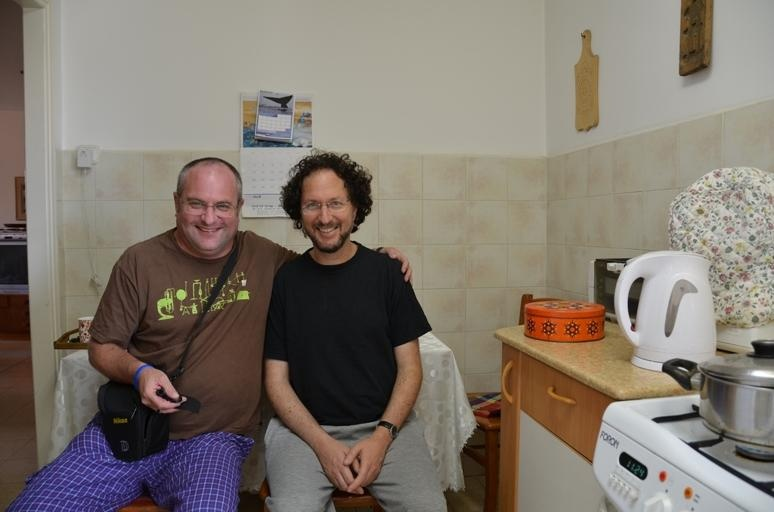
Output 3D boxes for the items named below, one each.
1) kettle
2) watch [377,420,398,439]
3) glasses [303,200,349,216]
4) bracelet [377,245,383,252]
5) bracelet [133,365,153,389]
[{"bbox_3d":[1.061,0.209,2.298,0.458,0.502,0.379,-1,1,-5],"label":"kettle"},{"bbox_3d":[0.011,0.727,2.448,0.087,0.090,0.055,-22,27,54],"label":"watch"},{"bbox_3d":[-0.272,-0.211,2.461,0.189,0.062,0.058,-1,6,-10],"label":"glasses"},{"bbox_3d":[-0.036,-0.035,2.644,0.026,0.023,0.022,8,-9,-38],"label":"bracelet"},{"bbox_3d":[-1.037,0.501,2.386,0.061,0.089,0.087,29,-24,-22],"label":"bracelet"}]
